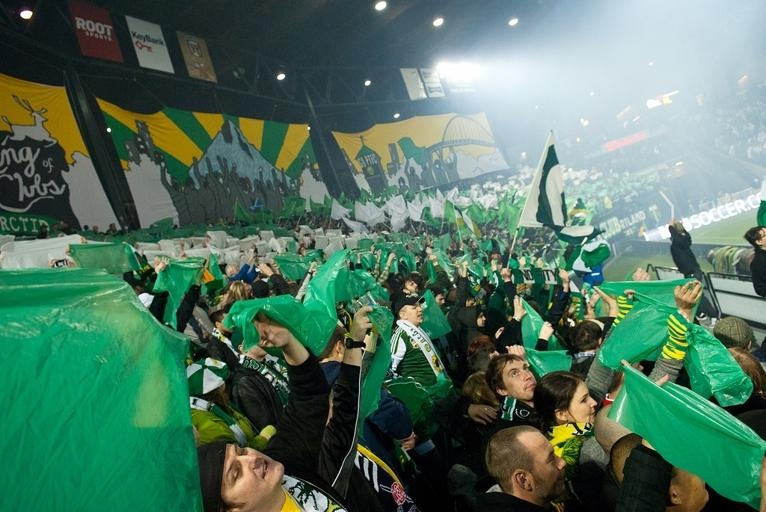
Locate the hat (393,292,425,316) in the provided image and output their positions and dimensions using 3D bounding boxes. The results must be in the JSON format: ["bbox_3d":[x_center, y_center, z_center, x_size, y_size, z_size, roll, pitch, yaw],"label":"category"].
[{"bbox_3d":[0.253,0.484,5.180,0.325,0.119,0.236,-26,-5,22],"label":"hat"}]

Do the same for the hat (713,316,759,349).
[{"bbox_3d":[2.947,0.605,4.153,0.212,0.154,0.286,-11,1,-33],"label":"hat"}]
